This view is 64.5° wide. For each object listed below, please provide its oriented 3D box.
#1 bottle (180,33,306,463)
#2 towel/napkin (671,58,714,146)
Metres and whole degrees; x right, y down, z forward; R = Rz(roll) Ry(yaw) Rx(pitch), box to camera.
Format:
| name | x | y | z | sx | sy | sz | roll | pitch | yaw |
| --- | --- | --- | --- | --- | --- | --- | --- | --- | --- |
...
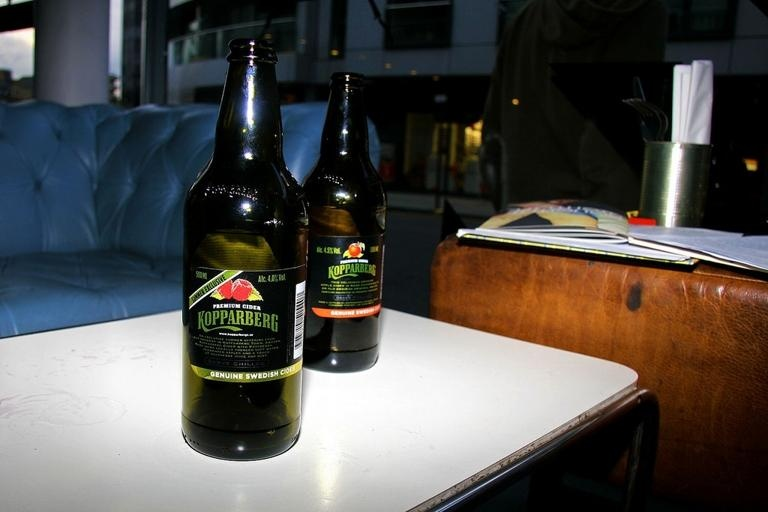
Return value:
| name | x | y | z | sx | sy | sz | roll | pitch | yaw |
| --- | --- | --- | --- | --- | --- | --- | --- | --- | --- |
| bottle | -0.192 | -0.006 | 0.828 | 0.172 | 0.562 | 0.138 | 0 | 15 | -6 |
| towel/napkin | 0.770 | -0.383 | 1.528 | 0.095 | 0.195 | 0.024 | 10 | 21 | 43 |
